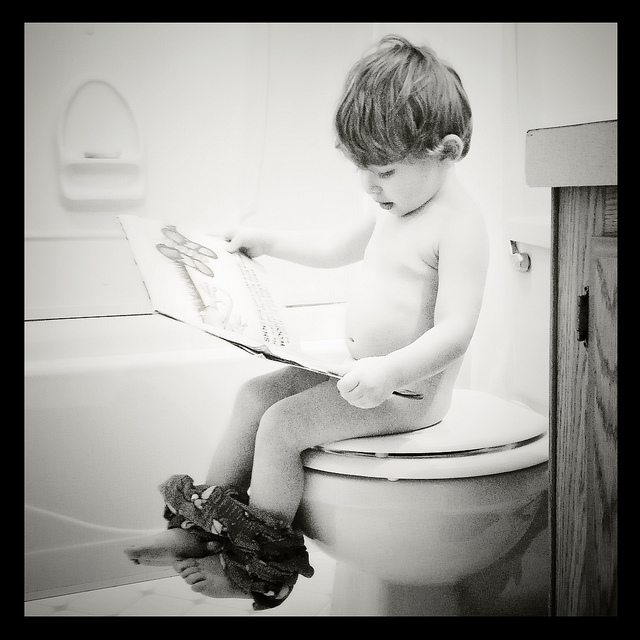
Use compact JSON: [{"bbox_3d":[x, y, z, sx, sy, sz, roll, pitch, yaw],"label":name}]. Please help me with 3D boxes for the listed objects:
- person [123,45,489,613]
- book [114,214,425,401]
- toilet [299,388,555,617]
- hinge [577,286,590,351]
[{"bbox_3d":[0.000,-0.003,1.103,0.521,0.975,0.480,4,5,-18],"label":"person"},{"bbox_3d":[-0.139,-0.038,0.973,0.348,0.258,0.255,-3,8,-16],"label":"book"},{"bbox_3d":[0.146,0.299,1.098,0.376,0.374,0.340,-1,7,-26],"label":"toilet"},{"bbox_3d":[0.357,-0.003,0.826,0.015,0.087,0.013,3,8,20],"label":"hinge"}]
